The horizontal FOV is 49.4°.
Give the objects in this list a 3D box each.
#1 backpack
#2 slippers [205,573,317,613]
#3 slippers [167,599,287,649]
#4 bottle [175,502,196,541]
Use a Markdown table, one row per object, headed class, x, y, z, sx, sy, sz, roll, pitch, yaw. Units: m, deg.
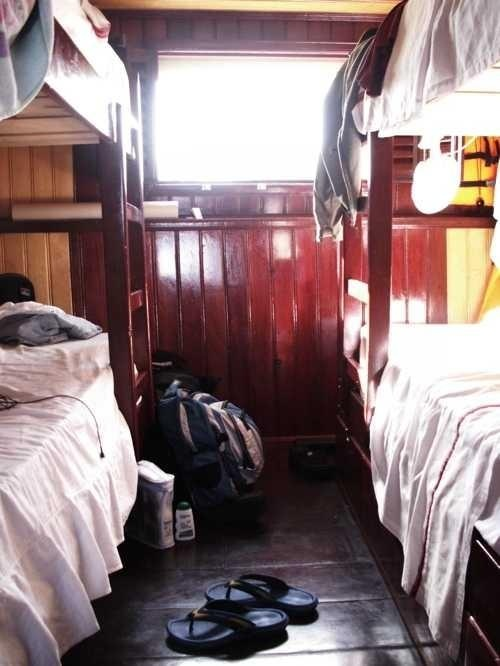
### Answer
| class | x | y | z | sx | sy | sz | roll | pitch | yaw |
| --- | --- | --- | --- | --- | --- | --- | --- | --- | --- |
| backpack | -0.173 | 0.454 | 2.281 | 0.441 | 0.442 | 0.428 | -3 | 5 | -27 |
| slippers | 0.046 | 0.752 | 1.570 | 0.213 | 0.069 | 0.127 | 4 | -3 | 12 |
| slippers | -0.065 | 0.767 | 1.422 | 0.203 | 0.073 | 0.129 | 1 | -3 | -6 |
| bottle | -0.247 | 0.686 | 2.058 | 0.079 | 0.142 | 0.167 | -1 | 5 | -7 |
